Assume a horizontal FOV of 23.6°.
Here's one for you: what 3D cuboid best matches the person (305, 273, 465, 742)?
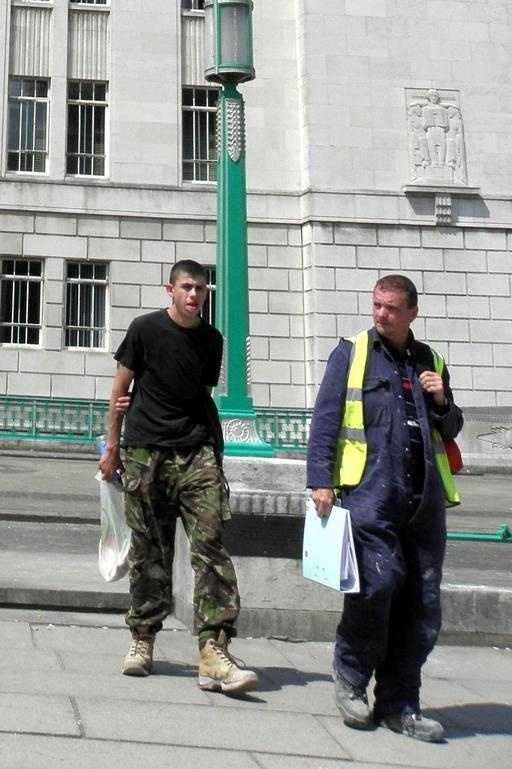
[{"bbox_3d":[0.602,0.533,5.713,0.758,2.098,0.599,-1,2,-10],"label":"person"}]

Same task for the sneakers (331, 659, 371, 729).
[{"bbox_3d":[0.433,1.420,5.602,0.170,0.248,0.181,-1,2,7],"label":"sneakers"}]

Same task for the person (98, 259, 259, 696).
[{"bbox_3d":[-0.329,0.398,6.085,0.688,2.058,1.052,2,-1,-43],"label":"person"}]

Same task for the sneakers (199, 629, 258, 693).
[{"bbox_3d":[-0.151,1.295,5.737,0.351,0.261,0.127,-6,-5,44],"label":"sneakers"}]

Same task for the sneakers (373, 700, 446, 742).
[{"bbox_3d":[0.686,1.484,5.646,0.390,0.147,0.228,0,2,-18],"label":"sneakers"}]

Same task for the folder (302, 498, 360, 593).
[{"bbox_3d":[0.338,0.733,5.632,0.166,0.385,0.464,-1,2,-17],"label":"folder"}]
